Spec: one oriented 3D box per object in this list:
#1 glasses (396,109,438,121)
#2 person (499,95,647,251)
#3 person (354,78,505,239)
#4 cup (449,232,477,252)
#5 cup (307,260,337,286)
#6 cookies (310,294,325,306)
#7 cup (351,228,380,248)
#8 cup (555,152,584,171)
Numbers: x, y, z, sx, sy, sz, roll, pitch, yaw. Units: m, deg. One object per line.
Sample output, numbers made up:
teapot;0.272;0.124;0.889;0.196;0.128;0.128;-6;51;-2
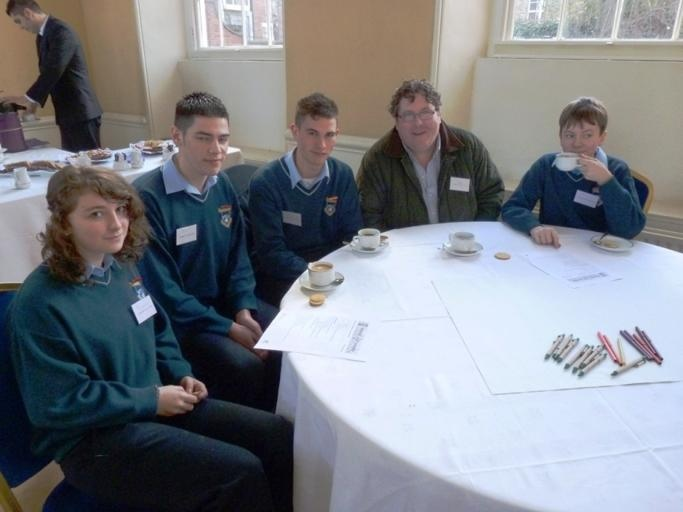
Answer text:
glasses;0.379;-0.710;2.460;0.182;0.065;0.067;3;20;12
person;1.237;-0.439;2.524;0.687;0.870;0.606;11;36;37
person;0.469;-0.518;2.696;0.846;0.908;0.489;-4;22;12
cup;0.509;-0.070;2.040;0.093;0.070;0.074;9;21;31
cup;-0.077;0.065;1.771;0.081;0.066;0.085;-1;16;0
cookies;-0.085;0.155;1.687;0.038;0.025;0.040;0;10;-2
cup;0.112;-0.084;2.071;0.072;0.069;0.099;2;17;7
cup;1.017;-0.416;2.186;0.112;0.087;0.081;-15;24;-34
